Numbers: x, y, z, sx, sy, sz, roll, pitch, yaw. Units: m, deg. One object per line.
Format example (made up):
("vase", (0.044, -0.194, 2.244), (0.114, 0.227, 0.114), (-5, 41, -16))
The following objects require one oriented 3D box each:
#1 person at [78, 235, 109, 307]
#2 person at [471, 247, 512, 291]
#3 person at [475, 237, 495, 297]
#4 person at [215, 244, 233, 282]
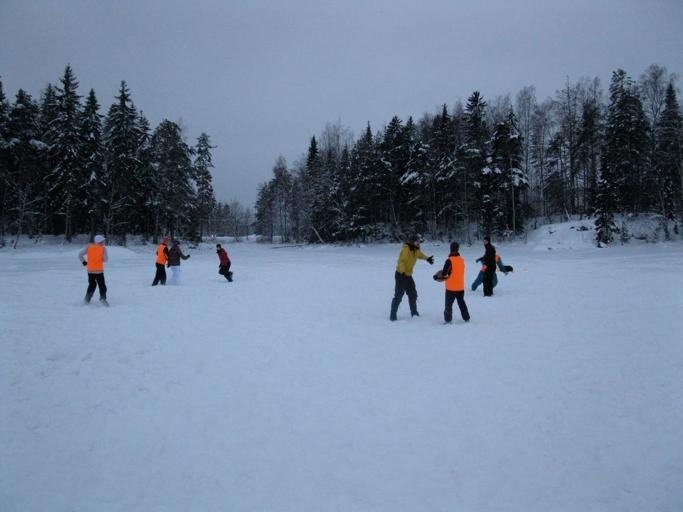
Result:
("person", (-7.693, 0.407, 18.075), (0.735, 2.156, 0.632), (4, 20, -20))
("person", (5.146, 0.626, 20.461), (1.356, 1.689, 0.560), (4, 10, -14))
("person", (4.920, 0.376, 19.719), (0.528, 1.985, 0.641), (5, 5, 13))
("person", (-4.816, 0.276, 23.921), (0.575, 1.545, 2.002), (-2, 4, -11))
